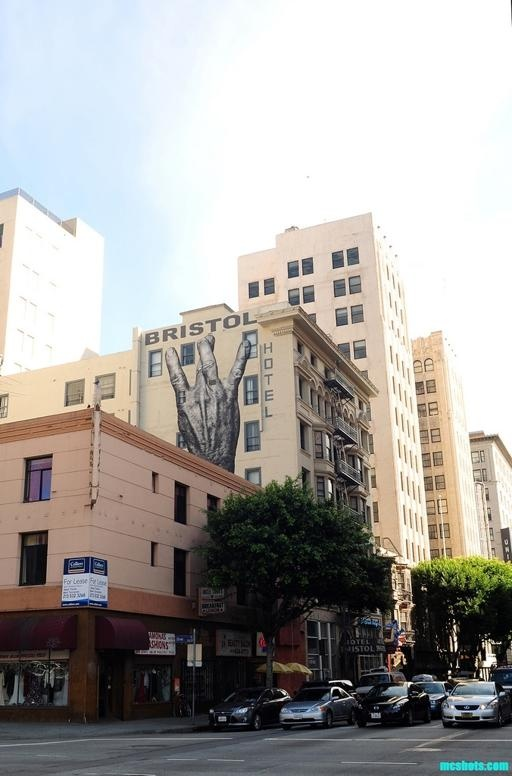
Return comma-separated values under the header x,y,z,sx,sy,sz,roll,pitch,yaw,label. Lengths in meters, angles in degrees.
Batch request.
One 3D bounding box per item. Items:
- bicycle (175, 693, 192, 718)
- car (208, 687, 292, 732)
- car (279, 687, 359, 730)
x,y,z,sx,sy,sz,roll,pitch,yaw,label
-3.187,13.561,30.408,0.317,1.017,0.747,-8,-22,6,bicycle
-0.298,10.834,24.090,1.213,1.018,2.989,-12,-29,21,car
2.061,10.633,23.760,1.285,1.002,3.064,-11,-28,21,car
